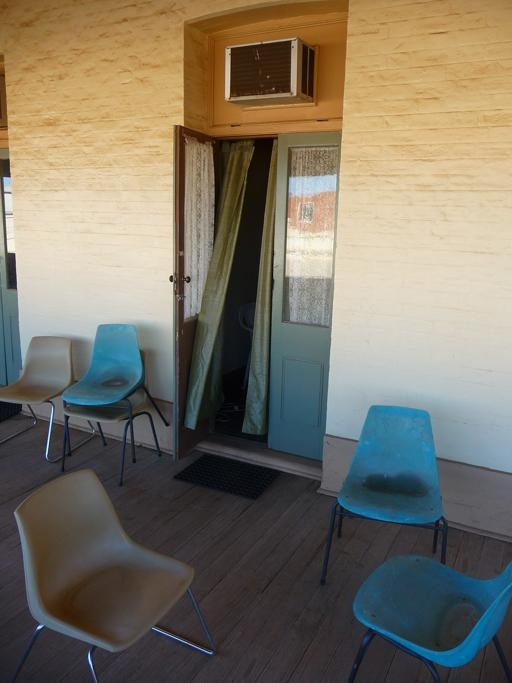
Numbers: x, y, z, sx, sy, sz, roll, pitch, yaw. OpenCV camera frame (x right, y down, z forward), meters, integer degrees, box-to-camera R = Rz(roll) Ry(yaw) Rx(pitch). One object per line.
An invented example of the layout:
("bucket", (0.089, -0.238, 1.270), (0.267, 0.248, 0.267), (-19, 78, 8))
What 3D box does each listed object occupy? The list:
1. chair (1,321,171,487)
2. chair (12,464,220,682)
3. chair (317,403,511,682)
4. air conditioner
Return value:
("chair", (-1.147, 0.444, 3.657), (0.964, 0.662, 0.378), (5, 8, 27))
("chair", (-0.502, 0.877, 1.930), (0.451, 0.619, 0.490), (10, 24, 27))
("chair", (0.612, 0.685, 2.339), (0.680, 1.158, 0.759), (3, 7, 15))
("air conditioner", (0.081, -1.540, 3.030), (0.469, 0.293, 0.281), (8, 15, 23))
